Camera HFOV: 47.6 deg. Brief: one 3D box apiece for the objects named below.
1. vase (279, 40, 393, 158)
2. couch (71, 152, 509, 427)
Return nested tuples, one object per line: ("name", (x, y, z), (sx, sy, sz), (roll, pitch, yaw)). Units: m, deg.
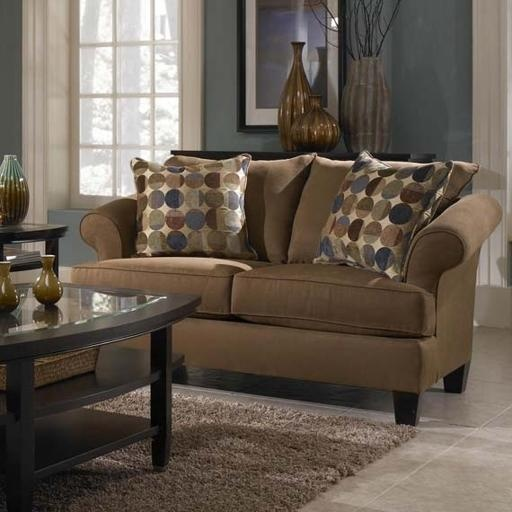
("vase", (0.471, -0.984, 3.587), (0.707, 0.762, 0.343), (1, 2, 12))
("couch", (0.068, 0.043, 2.639), (1.850, 0.947, 0.809), (4, 9, 27))
